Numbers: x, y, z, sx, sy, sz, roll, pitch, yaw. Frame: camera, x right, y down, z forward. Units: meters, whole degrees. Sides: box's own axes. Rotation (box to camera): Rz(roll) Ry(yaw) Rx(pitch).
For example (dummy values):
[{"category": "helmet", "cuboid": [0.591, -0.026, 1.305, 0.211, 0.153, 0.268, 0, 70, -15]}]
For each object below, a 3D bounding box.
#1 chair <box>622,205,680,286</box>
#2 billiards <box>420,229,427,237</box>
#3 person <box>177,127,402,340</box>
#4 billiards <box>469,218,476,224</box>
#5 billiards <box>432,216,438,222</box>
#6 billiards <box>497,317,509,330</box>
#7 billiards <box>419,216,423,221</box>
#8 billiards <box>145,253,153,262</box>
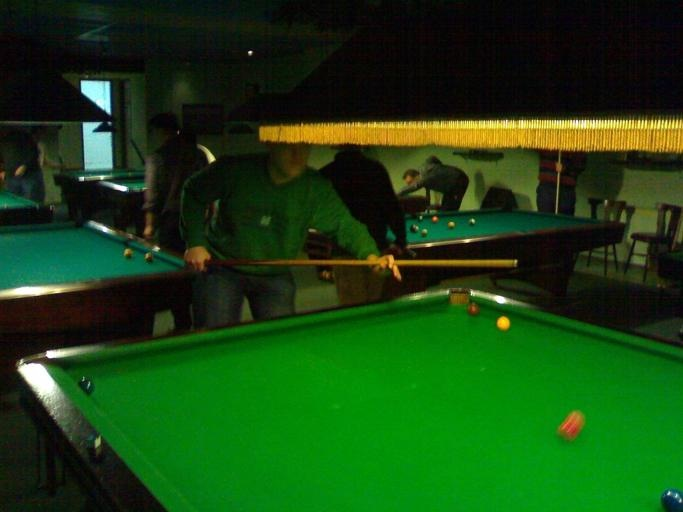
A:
[{"category": "chair", "cuboid": [2.845, -0.149, 5.623, 0.427, 0.750, 0.879, 6, 16, 25]}, {"category": "billiards", "cuboid": [0.567, -0.160, 4.233, 0.047, 0.049, 0.056, -9, -2, 8]}, {"category": "person", "cuboid": [-0.200, -0.134, 3.732, 1.007, 1.627, 1.001, -2, 5, -35]}, {"category": "billiards", "cuboid": [1.003, -0.268, 4.752, 0.058, 0.049, 0.066, -2, 2, -29]}, {"category": "billiards", "cuboid": [0.737, -0.295, 4.878, 0.037, 0.038, 0.044, -30, 9, -1]}, {"category": "billiards", "cuboid": [0.616, 0.256, 2.340, 0.043, 0.052, 0.044, 5, 23, 8]}, {"category": "billiards", "cuboid": [0.628, -0.299, 4.889, 0.036, 0.037, 0.038, 3, 7, 40]}, {"category": "billiards", "cuboid": [-1.037, 0.007, 3.286, 0.036, 0.049, 0.047, 1, -17, -27]}]
